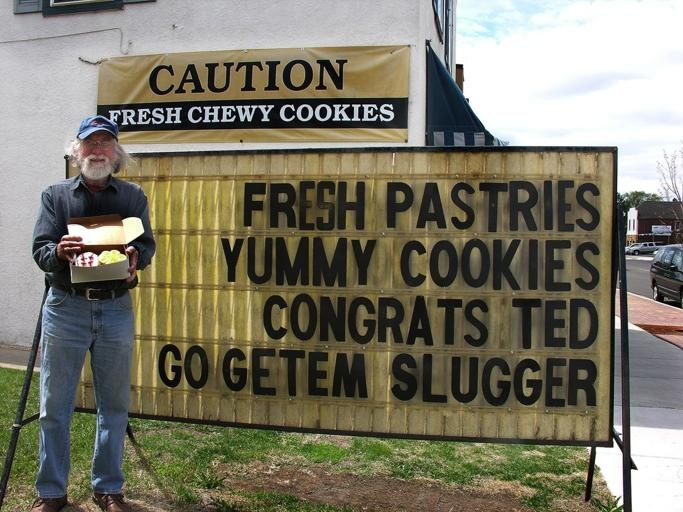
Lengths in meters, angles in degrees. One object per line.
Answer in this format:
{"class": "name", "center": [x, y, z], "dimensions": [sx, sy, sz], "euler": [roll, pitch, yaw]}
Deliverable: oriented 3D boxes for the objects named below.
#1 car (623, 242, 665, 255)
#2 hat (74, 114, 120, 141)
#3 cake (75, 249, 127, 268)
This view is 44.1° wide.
{"class": "car", "center": [23.366, -0.521, 65.542], "dimensions": [2.479, 0.923, 1.205], "euler": [1, 3, -4]}
{"class": "hat", "center": [-2.194, -1.144, 7.556], "dimensions": [0.237, 0.184, 0.334], "euler": [-2, 7, -25]}
{"class": "cake", "center": [-2.059, 0.032, 7.230], "dimensions": [0.255, 0.068, 0.192], "euler": [-3, 11, -8]}
